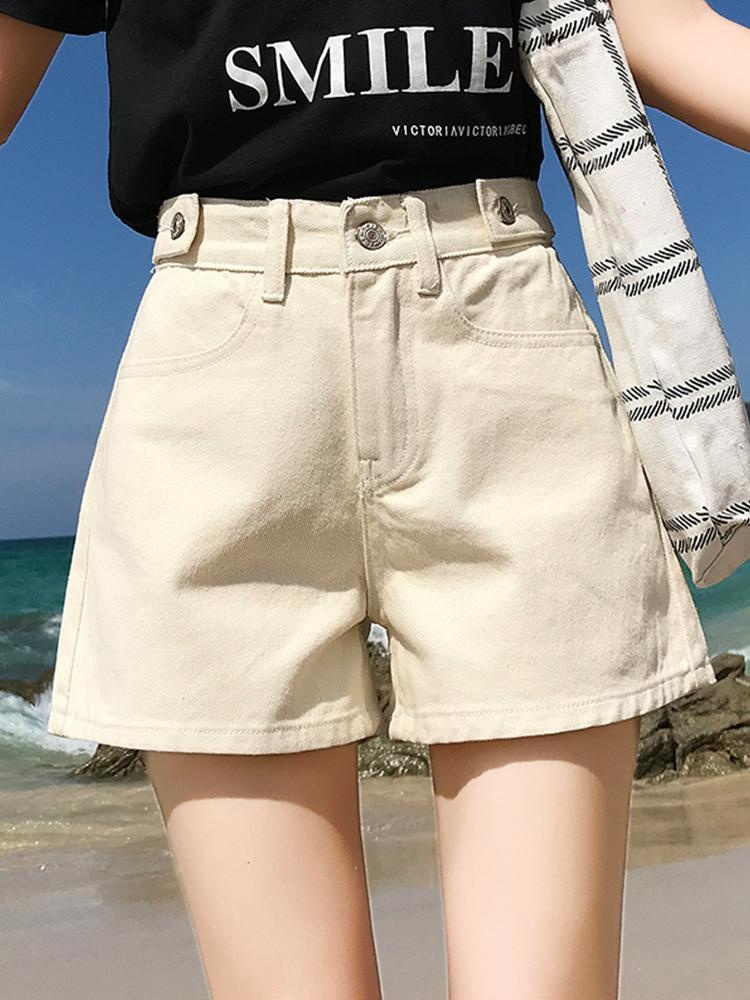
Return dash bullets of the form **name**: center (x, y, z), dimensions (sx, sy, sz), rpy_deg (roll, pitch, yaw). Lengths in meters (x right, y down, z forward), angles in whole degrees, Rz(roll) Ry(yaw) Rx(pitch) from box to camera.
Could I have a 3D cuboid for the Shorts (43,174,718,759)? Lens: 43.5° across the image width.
- **Shorts**: center (0.015, -0.016, 0.723), dimensions (0.588, 0.207, 0.395), rpy_deg (-2, 85, -2)
